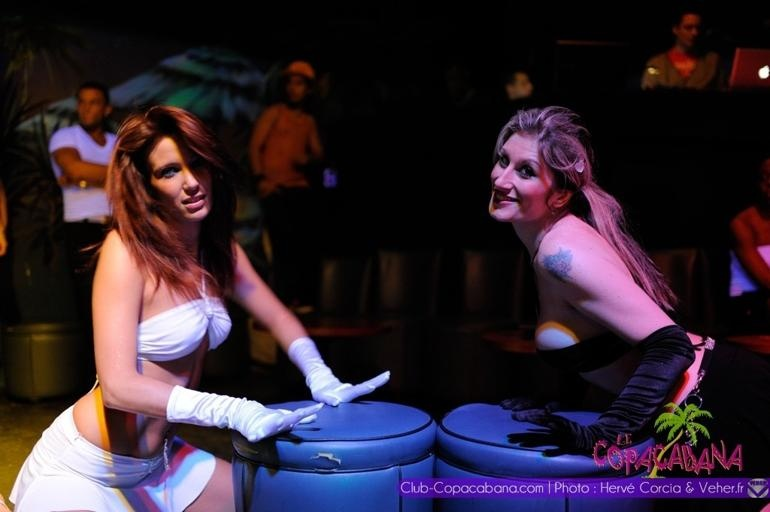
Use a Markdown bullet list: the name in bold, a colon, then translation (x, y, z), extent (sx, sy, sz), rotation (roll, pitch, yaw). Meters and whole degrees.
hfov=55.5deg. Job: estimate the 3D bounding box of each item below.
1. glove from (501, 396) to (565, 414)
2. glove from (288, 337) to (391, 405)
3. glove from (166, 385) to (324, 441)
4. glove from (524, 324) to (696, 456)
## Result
- **glove**: translation (0.653, 0.658, 3.233), extent (0.230, 0.062, 0.137), rotation (-2, -4, -8)
- **glove**: translation (-0.254, 0.532, 3.270), extent (0.344, 0.132, 0.292), rotation (15, 16, 37)
- **glove**: translation (-0.574, 0.640, 2.966), extent (0.592, 0.201, 0.169), rotation (7, 17, -14)
- **glove**: translation (0.885, 0.541, 2.946), extent (0.295, 0.618, 0.457), rotation (37, 29, 5)
